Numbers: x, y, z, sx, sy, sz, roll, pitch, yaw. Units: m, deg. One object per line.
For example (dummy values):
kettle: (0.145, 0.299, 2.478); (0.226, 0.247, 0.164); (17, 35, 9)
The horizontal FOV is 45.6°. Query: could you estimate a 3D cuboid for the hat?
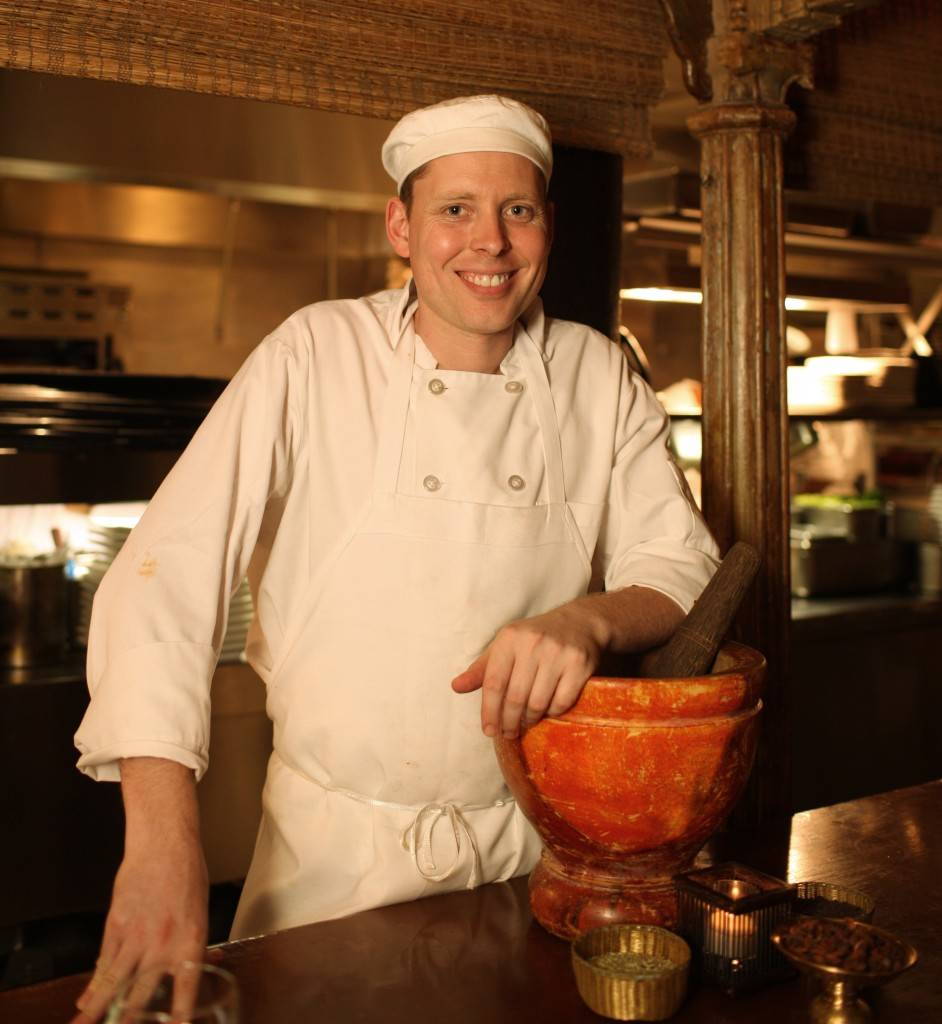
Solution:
hat: (0.000, -0.497, 1.546); (0.214, 0.117, 0.180); (1, 11, 10)
